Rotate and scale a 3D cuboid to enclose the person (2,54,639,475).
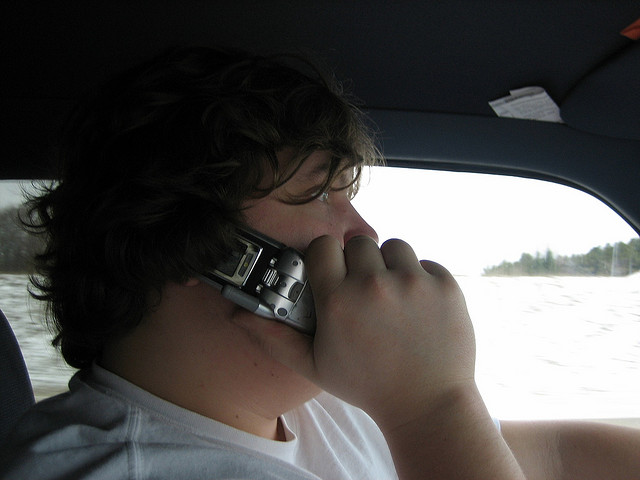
[{"bbox_3d":[0.026,0.182,1.942,1.755,0.959,1.136,20,-34,-29],"label":"person"}]
